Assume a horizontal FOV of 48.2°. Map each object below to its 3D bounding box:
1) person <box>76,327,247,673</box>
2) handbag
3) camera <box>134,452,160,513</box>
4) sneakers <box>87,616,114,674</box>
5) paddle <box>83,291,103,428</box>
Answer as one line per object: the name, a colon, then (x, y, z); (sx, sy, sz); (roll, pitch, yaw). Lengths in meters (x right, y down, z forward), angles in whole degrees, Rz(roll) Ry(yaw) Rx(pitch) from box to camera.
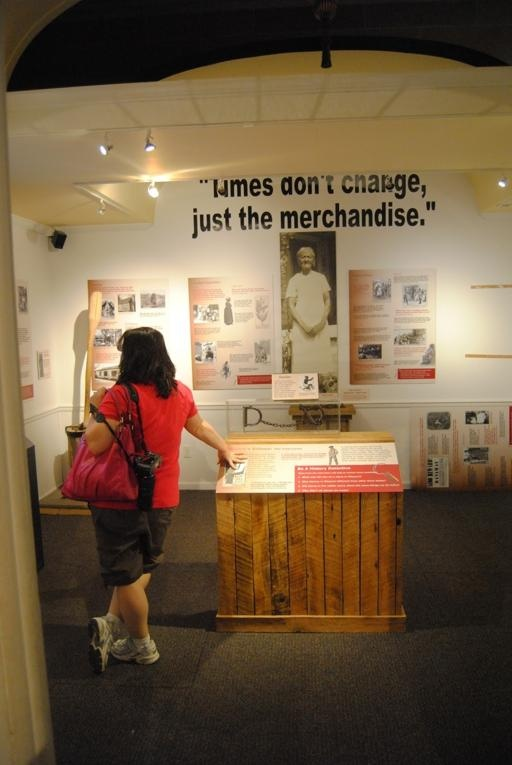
person: (-0.375, 0.463, 2.341); (0.632, 1.298, 0.365); (4, 9, -23)
handbag: (-0.558, 0.303, 2.105); (0.264, 0.278, 0.136); (-1, -10, 10)
camera: (-0.401, 0.366, 2.073); (0.084, 0.145, 0.070); (-1, 2, 28)
sneakers: (-0.649, 1.035, 2.380); (0.084, 0.136, 0.263); (-1, -11, -12)
paddle: (-1.061, -0.225, 3.671); (0.129, 0.867, 0.131); (-2, -28, -6)
